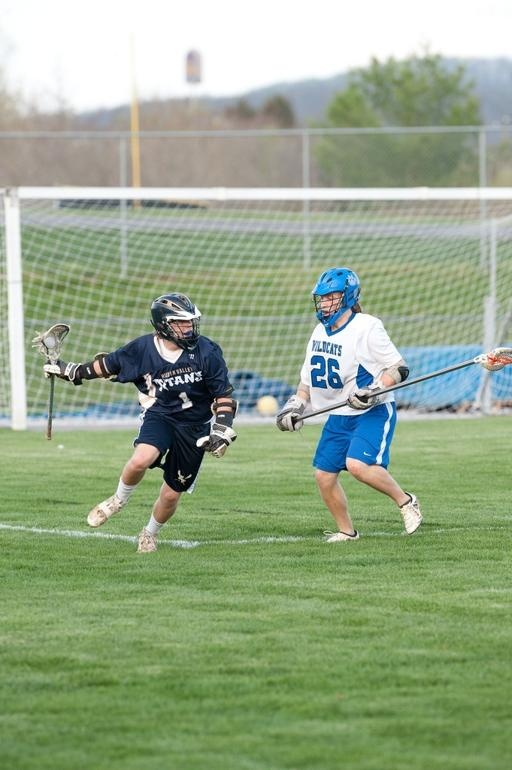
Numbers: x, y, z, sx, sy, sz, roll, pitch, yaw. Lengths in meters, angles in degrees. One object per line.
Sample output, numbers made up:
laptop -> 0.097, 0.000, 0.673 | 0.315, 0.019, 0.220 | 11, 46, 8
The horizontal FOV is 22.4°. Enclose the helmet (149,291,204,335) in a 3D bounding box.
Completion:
helmet -> -0.371, -0.356, 6.325 | 0.235, 0.173, 0.183 | 9, 17, 16

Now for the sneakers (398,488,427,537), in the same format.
sneakers -> 0.830, 0.677, 6.856 | 0.131, 0.259, 0.097 | 22, -43, -20

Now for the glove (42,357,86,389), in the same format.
glove -> -0.990, -0.064, 6.678 | 0.187, 0.077, 0.143 | 16, 6, 4

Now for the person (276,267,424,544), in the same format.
person -> 0.509, 0.116, 6.762 | 0.537, 1.446, 0.724 | -5, 8, -37

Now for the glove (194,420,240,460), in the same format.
glove -> -0.189, 0.274, 6.278 | 0.178, 0.083, 0.177 | 14, 40, 41

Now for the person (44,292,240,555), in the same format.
person -> -0.493, 0.196, 6.461 | 0.875, 1.298, 0.466 | 5, 8, 41

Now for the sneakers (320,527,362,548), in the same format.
sneakers -> 0.454, 0.805, 6.847 | 0.204, 0.072, 0.069 | 0, 3, 1

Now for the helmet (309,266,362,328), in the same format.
helmet -> 0.420, -0.449, 6.744 | 0.227, 0.310, 0.307 | 0, 6, 5

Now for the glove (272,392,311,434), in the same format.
glove -> 0.226, 0.155, 6.926 | 0.097, 0.192, 0.148 | 44, -17, -29

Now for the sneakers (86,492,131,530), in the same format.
sneakers -> -0.793, 0.693, 7.059 | 0.281, 0.099, 0.124 | -37, -1, -5

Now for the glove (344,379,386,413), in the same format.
glove -> 0.551, 0.057, 6.489 | 0.127, 0.073, 0.165 | -22, 8, 6

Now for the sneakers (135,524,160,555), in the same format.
sneakers -> -0.541, 0.795, 6.613 | 0.127, 0.143, 0.354 | 0, 5, -3
